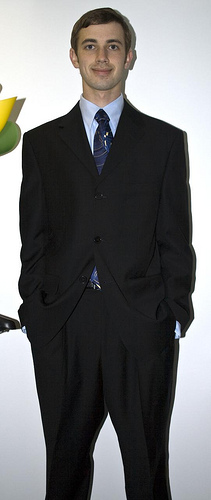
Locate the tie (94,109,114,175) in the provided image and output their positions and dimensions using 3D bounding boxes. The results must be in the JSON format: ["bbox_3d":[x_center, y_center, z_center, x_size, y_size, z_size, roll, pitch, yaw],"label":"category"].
[{"bbox_3d":[-0.006,-0.334,1.249,0.057,0.199,0.067,2,6,-2],"label":"tie"}]

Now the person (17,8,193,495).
[{"bbox_3d":[-0.018,0.063,1.301,0.570,1.611,0.266,4,6,14],"label":"person"}]

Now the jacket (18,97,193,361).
[{"bbox_3d":[-0.015,-0.068,1.281,0.572,0.744,0.247,4,6,13],"label":"jacket"}]
